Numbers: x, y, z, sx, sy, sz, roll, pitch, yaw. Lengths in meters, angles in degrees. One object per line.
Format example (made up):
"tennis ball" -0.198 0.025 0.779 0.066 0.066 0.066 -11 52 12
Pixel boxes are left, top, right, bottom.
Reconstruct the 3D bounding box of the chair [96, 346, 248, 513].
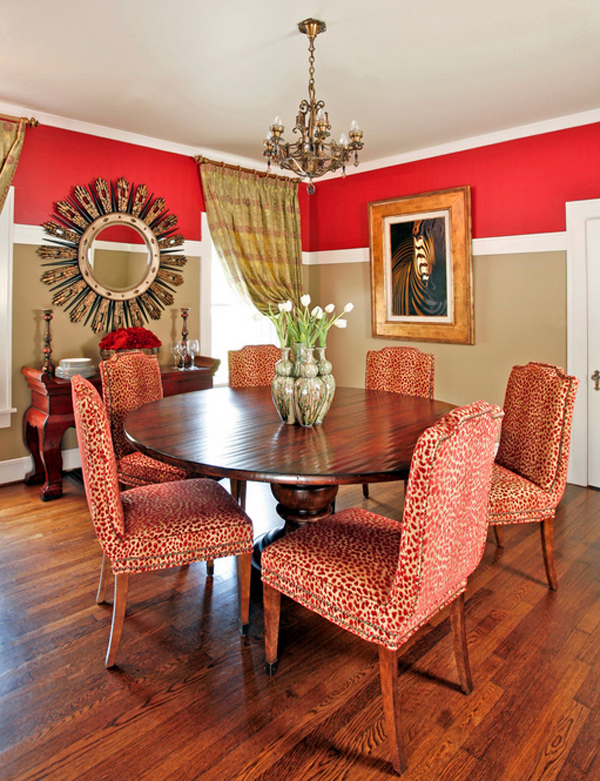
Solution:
"chair" -0.667 0.226 3.056 0.662 0.949 0.638 4 9 42

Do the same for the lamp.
"lamp" 0.059 -1.301 2.691 0.453 0.685 0.414 -9 35 -15

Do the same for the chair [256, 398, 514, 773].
"chair" 0.218 0.472 1.742 0.573 0.926 0.487 7 12 37

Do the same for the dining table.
"dining table" 0.032 0.396 2.322 1.135 0.483 1.131 -11 8 -2

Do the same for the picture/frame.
"picture/frame" 0.944 -0.972 4.718 0.072 1.154 1.024 -9 13 -42

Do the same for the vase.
"vase" 0.014 -0.021 2.390 0.276 0.302 0.257 -1 12 -2

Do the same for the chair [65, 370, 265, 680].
"chair" -0.499 0.427 2.151 0.603 0.905 0.535 -2 10 -17

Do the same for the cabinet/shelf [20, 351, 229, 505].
"cabinet/shelf" -1.180 0.198 4.001 1.229 0.827 0.408 -7 15 -38

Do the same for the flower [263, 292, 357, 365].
"flower" 0.001 -0.265 2.397 0.302 0.210 0.257 7 -2 -9

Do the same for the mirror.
"mirror" -1.350 -0.972 4.132 0.062 1.311 1.339 3 -2 44

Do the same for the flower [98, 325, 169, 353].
"flower" -1.122 -0.325 3.864 0.258 0.141 0.229 -2 2 2
